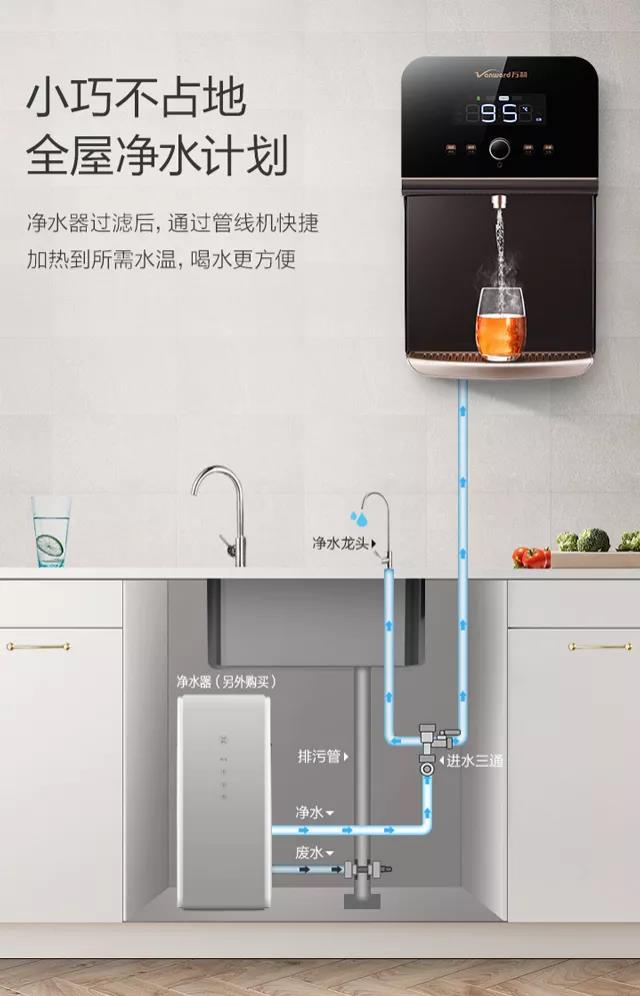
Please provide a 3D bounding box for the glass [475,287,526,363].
[{"bbox_3d":[0.393,-0.389,2.527,0.101,0.144,0.087,0,0,13],"label":"glass"}]

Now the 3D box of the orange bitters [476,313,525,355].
[{"bbox_3d":[0.391,-0.352,2.530,0.087,0.088,0.088,1,-2,-22],"label":"orange bitters"}]

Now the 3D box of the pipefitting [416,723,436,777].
[{"bbox_3d":[0.225,0.532,2.434,0.031,0.116,0.100,0,0,4],"label":"pipefitting"}]

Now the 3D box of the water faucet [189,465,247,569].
[{"bbox_3d":[-0.229,0.035,2.610,0.120,0.228,0.273,0,0,-5],"label":"water faucet"}]
